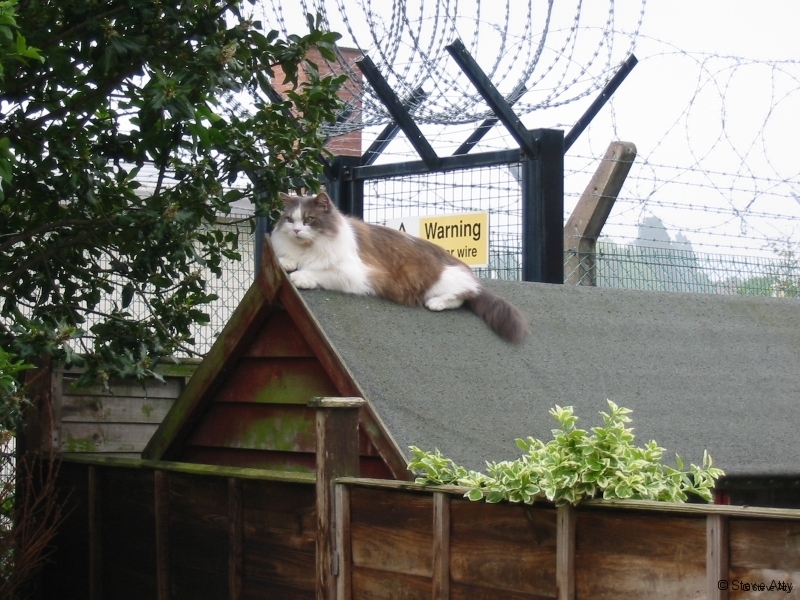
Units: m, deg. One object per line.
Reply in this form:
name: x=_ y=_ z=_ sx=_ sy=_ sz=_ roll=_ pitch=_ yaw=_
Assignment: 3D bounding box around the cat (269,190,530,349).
cat: x=-0.033 y=-0.209 z=8.406 sx=1.328 sy=0.605 sz=0.857 roll=19 pitch=-9 yaw=-18
